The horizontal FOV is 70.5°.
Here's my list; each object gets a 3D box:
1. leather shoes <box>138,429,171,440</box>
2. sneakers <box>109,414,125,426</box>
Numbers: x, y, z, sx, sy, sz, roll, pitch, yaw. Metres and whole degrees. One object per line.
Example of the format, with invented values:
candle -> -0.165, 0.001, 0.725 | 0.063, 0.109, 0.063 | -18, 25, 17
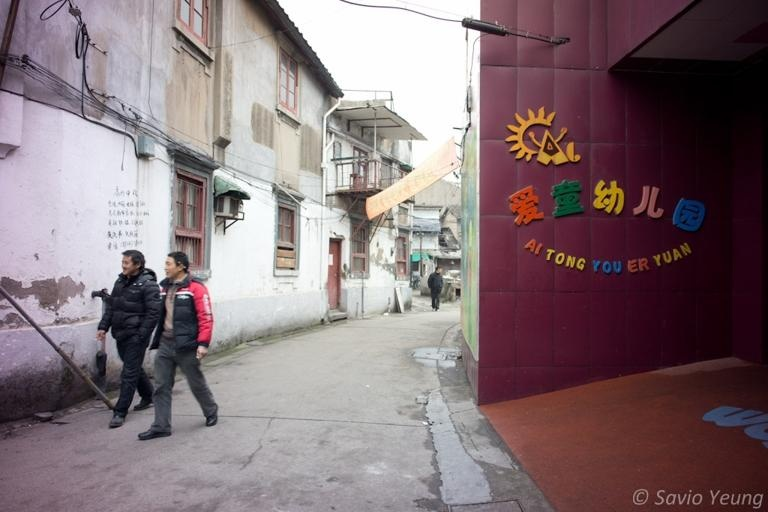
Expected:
leather shoes -> -3.088, 2.387, 7.375 | 0.430, 0.189, 0.151 | 7, -6, -15
sneakers -> -3.771, 2.309, 7.697 | 0.194, 0.140, 0.216 | -4, 6, -27
